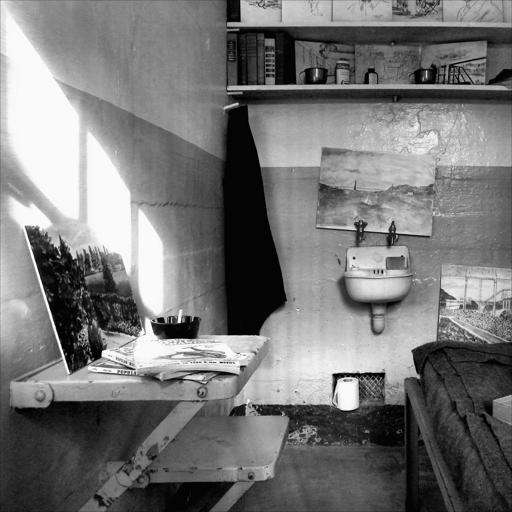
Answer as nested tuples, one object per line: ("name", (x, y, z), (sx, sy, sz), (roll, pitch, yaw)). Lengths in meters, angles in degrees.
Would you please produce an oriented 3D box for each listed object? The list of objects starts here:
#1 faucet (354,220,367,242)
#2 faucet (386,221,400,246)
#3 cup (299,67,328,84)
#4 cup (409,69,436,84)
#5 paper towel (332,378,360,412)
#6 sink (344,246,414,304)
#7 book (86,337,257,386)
("faucet", (0.654, -0.145, 3.545), (0.074, 0.142, 0.094), (-2, 0, 10))
("faucet", (0.843, -0.133, 3.521), (0.078, 0.158, 0.135), (-2, 0, 14))
("cup", (0.340, -1.048, 3.349), (0.121, 0.102, 0.202), (-1, 2, 0))
("cup", (0.965, -1.027, 3.338), (0.082, 0.064, 0.135), (-4, 6, -10))
("paper towel", (0.553, 0.849, 3.520), (0.167, 0.204, 0.248), (-3, 0, 8))
("sink", (0.728, 0.119, 3.416), (0.402, 0.333, 0.414), (-3, 0, 14))
("book", (-0.202, 0.230, 1.273), (0.383, 0.082, 0.274), (-3, 0, 14))
